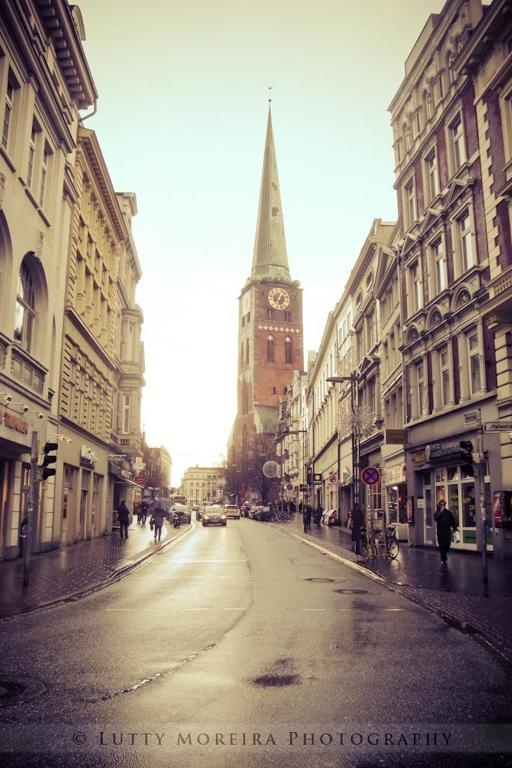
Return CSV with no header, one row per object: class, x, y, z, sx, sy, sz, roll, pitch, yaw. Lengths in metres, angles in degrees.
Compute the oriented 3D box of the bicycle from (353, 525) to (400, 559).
bicycle,4.090,5.490,20.313,0.945,1.418,2.090,7,-22,-23
